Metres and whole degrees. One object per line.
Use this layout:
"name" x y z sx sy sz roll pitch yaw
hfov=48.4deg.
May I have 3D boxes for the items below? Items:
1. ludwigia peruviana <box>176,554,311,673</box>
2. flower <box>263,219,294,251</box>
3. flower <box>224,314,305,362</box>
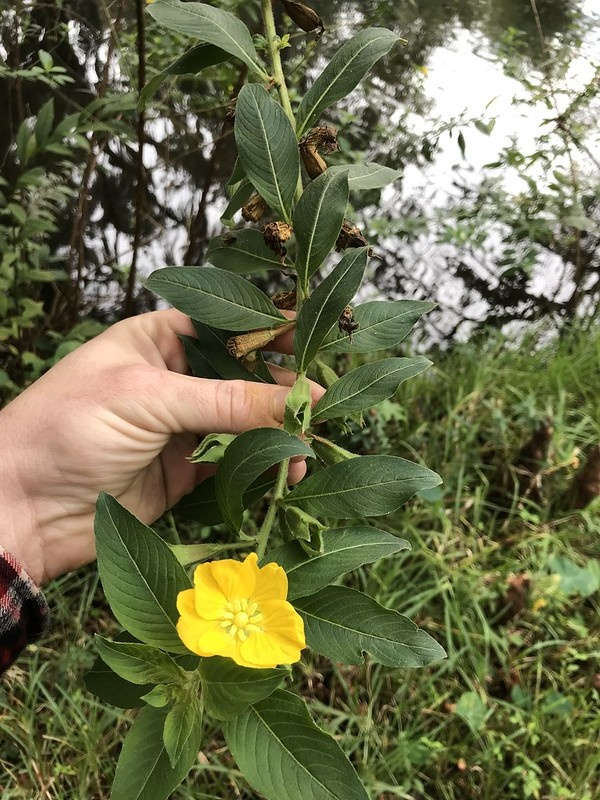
"ludwigia peruviana" -0.077 0.285 0.913 0.181 0.108 0.125 14 17 15
"flower" -0.038 -0.289 1.191 0.054 0.051 0.025 13 0 15
"flower" -0.079 -0.110 1.270 0.165 0.055 0.048 -24 33 -1
